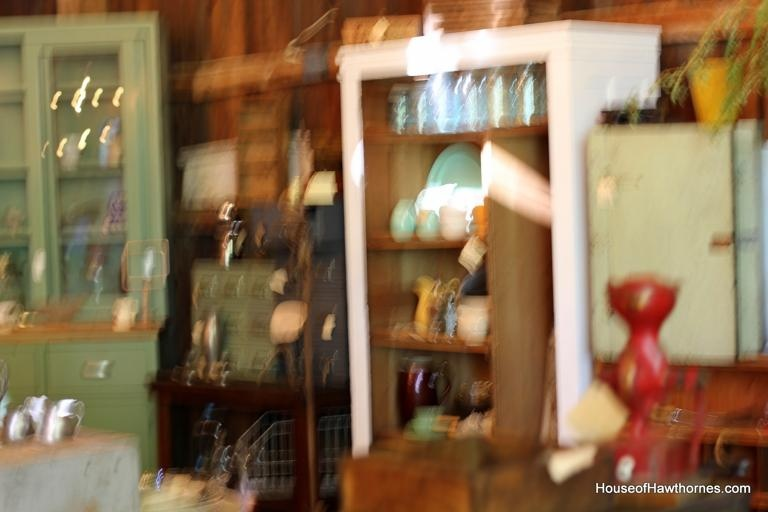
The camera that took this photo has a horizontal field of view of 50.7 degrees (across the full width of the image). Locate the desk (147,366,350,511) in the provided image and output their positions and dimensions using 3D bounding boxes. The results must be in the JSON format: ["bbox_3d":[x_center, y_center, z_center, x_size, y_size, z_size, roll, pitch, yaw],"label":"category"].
[{"bbox_3d":[-0.680,0.733,4.225,0.875,0.905,0.648,-1,-5,20],"label":"desk"}]

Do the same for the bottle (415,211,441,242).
[{"bbox_3d":[0.205,-0.133,3.810,0.116,0.155,0.117,1,-4,0],"label":"bottle"}]

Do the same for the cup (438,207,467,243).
[{"bbox_3d":[0.323,-0.147,3.768,0.129,0.161,0.137,-1,-3,0],"label":"cup"}]

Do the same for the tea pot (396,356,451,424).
[{"bbox_3d":[0.216,0.606,3.588,0.298,0.333,0.193,0,-3,6],"label":"tea pot"}]
